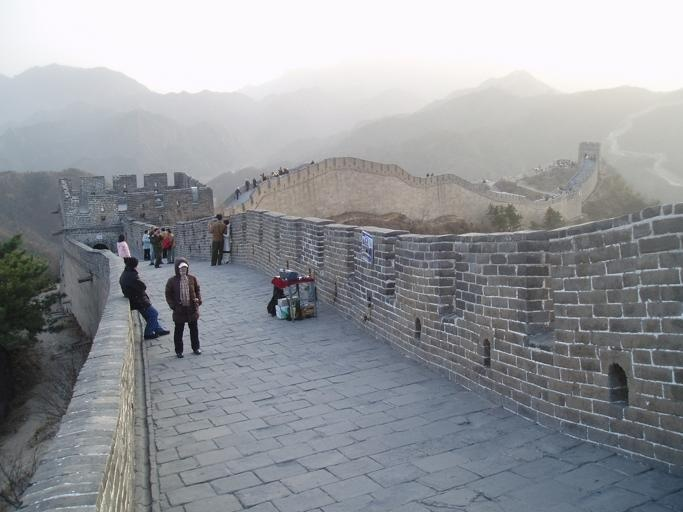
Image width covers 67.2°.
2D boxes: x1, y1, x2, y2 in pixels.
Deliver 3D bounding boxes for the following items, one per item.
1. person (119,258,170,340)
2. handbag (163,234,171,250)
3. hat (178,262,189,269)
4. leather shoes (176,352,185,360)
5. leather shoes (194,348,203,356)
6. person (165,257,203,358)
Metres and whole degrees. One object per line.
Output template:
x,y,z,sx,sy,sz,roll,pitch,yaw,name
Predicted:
-3.169,0.714,8.309,0.605,1.499,1.389,-6,9,-16,person
-5.953,-0.527,17.598,0.282,0.481,0.543,-7,10,-22,handbag
-2.338,0.133,7.613,0.124,0.100,0.184,-5,10,-14,hat
-2.432,1.502,7.793,0.078,0.085,0.210,0,-8,-27,leather shoes
-2.212,1.468,7.958,0.047,0.052,0.124,1,8,2,leather shoes
-2.394,0.767,7.878,0.501,1.486,0.559,-6,9,-19,person
